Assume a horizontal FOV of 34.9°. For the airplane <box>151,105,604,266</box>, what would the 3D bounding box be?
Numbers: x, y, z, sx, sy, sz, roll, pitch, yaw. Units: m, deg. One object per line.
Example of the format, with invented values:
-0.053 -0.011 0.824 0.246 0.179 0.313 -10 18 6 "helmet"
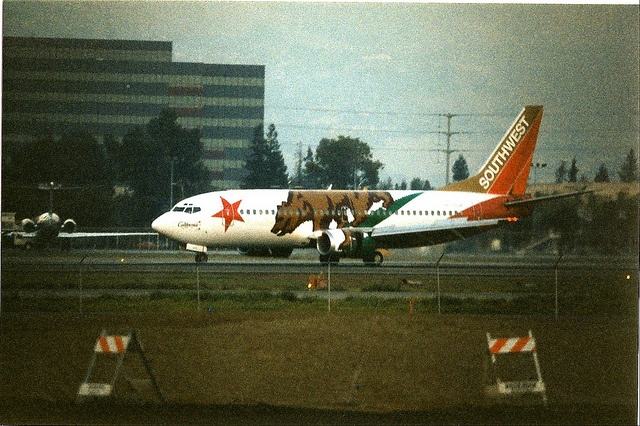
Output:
3.381 -1.690 72.075 29.695 10.425 22.647 -1 -3 -15 "airplane"
